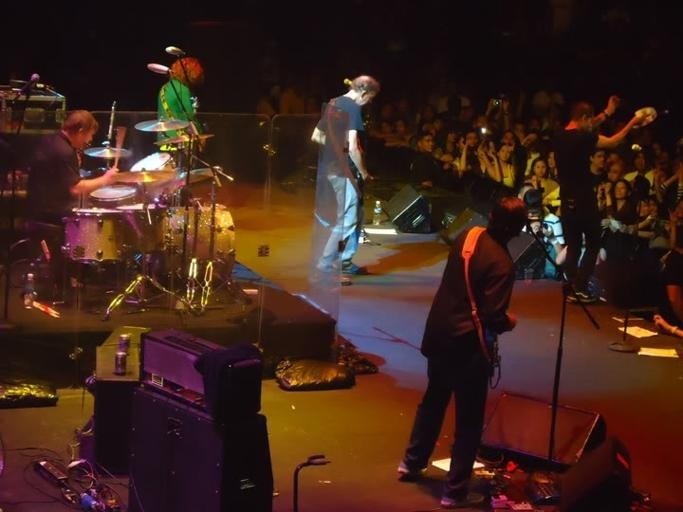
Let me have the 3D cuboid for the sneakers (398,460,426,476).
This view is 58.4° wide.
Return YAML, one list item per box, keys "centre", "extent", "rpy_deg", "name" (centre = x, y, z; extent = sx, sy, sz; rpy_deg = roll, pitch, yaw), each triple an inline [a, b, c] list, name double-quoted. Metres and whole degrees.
- centre: [0.521, 1.513, 4.340]
  extent: [0.218, 0.092, 0.090]
  rpy_deg: [-4, 12, -11]
  name: "sneakers"

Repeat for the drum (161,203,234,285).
- centre: [-1.513, -0.116, 6.518]
  extent: [0.979, 0.809, 0.698]
  rpy_deg: [5, 2, -15]
  name: "drum"

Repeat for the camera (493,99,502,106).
- centre: [2.654, -2.613, 10.319]
  extent: [0.152, 0.134, 0.049]
  rpy_deg: [2, -8, 21]
  name: "camera"

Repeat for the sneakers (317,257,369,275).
- centre: [-0.018, 0.145, 8.000]
  extent: [0.604, 0.218, 0.195]
  rpy_deg: [-3, 20, -18]
  name: "sneakers"

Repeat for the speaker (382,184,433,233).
- centre: [1.202, -0.826, 10.805]
  extent: [0.671, 0.631, 0.670]
  rpy_deg: [38, -38, -12]
  name: "speaker"

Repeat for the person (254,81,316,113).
- centre: [-1.071, -2.910, 11.574]
  extent: [0.912, 0.202, 0.791]
  rpy_deg: [3, 48, 3]
  name: "person"

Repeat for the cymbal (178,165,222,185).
- centre: [-1.402, -0.801, 6.026]
  extent: [0.417, 0.211, 0.875]
  rpy_deg: [6, 5, -12]
  name: "cymbal"

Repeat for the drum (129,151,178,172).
- centre: [-1.809, -0.927, 5.908]
  extent: [0.393, 0.197, 0.301]
  rpy_deg: [5, 6, -18]
  name: "drum"

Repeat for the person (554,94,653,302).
- centre: [3.110, -0.705, 7.443]
  extent: [1.018, 1.774, 0.941]
  rpy_deg: [13, 8, 42]
  name: "person"

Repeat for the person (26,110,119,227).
- centre: [-2.645, -0.844, 6.030]
  extent: [0.791, 1.331, 0.686]
  rpy_deg: [-16, 50, -37]
  name: "person"

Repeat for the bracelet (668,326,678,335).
- centre: [3.668, 0.825, 6.688]
  extent: [0.098, 0.078, 0.047]
  rpy_deg: [10, 6, 28]
  name: "bracelet"

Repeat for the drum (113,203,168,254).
- centre: [-1.943, -0.295, 6.045]
  extent: [0.473, 0.456, 0.488]
  rpy_deg: [11, 13, 41]
  name: "drum"

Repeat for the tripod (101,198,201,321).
- centre: [-1.909, 0.007, 6.149]
  extent: [1.113, 1.251, 1.012]
  rpy_deg: [3, 8, -9]
  name: "tripod"

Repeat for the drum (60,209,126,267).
- centre: [-2.301, -0.175, 5.831]
  extent: [0.560, 0.488, 0.518]
  rpy_deg: [2, 1, 1]
  name: "drum"

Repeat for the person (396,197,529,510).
- centre: [0.797, 0.617, 4.060]
  extent: [0.566, 2.067, 0.303]
  rpy_deg: [9, 6, 11]
  name: "person"
